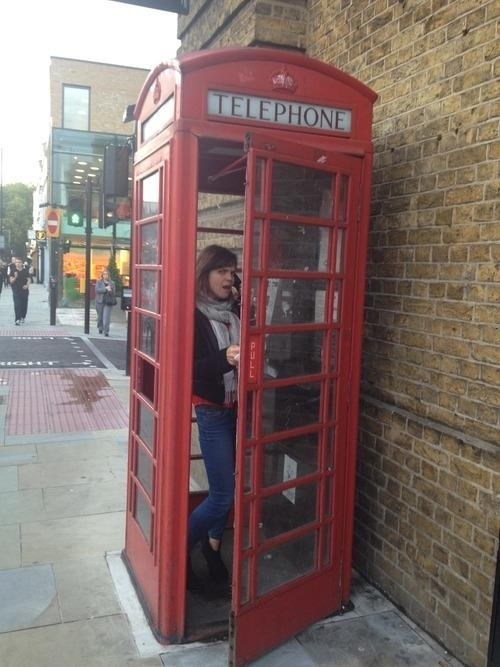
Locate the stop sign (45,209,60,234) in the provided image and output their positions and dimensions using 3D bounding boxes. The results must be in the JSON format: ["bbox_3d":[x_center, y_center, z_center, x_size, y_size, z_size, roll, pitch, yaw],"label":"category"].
[{"bbox_3d":[-5.884,-3.322,16.912,0.333,0.915,1.408,-2,8,-20],"label":"stop sign"}]

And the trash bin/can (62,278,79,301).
[{"bbox_3d":[-8.592,-2.125,27.204,0.747,0.985,2.617,-1,8,-18],"label":"trash bin/can"}]

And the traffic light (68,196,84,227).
[{"bbox_3d":[-4.131,-2.894,13.431,0.338,0.641,0.631,-1,7,-15],"label":"traffic light"}]

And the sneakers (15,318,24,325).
[{"bbox_3d":[-7.040,-0.385,17.345,0.131,0.178,0.390,0,9,-17],"label":"sneakers"}]

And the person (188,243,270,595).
[{"bbox_3d":[-0.178,0.489,2.749,0.237,1.817,0.666,1,7,-1],"label":"person"}]

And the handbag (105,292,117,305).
[{"bbox_3d":[-4.062,-1.022,16.430,0.162,0.447,0.430,-10,-7,30],"label":"handbag"}]
